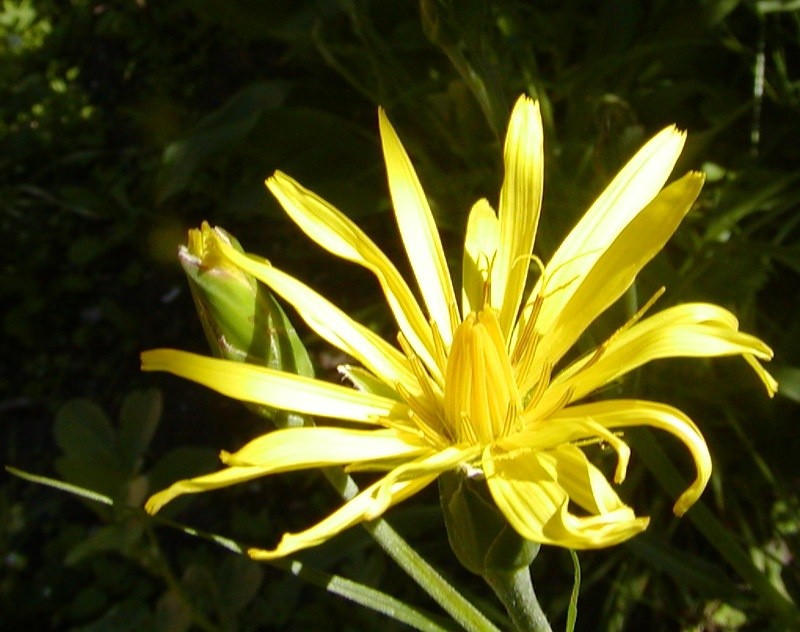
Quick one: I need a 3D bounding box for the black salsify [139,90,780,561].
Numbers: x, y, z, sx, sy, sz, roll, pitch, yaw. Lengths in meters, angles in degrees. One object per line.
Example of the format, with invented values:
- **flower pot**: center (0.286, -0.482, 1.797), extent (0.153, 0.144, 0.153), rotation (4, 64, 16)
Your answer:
- **black salsify**: center (0.055, 0.022, 0.843), extent (0.629, 0.639, 0.257), rotation (26, 85, 38)
